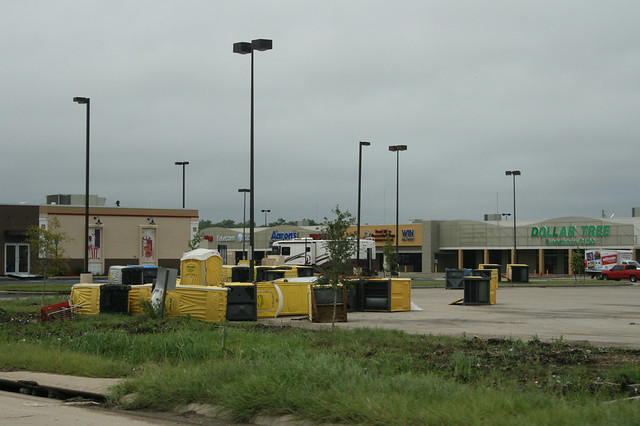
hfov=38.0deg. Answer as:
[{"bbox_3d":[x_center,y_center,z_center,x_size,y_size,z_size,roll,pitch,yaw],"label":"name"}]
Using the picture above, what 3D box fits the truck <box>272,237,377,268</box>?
[{"bbox_3d":[0.083,2.262,52.418,7.337,2.479,2.729,-1,-2,5],"label":"truck"}]
